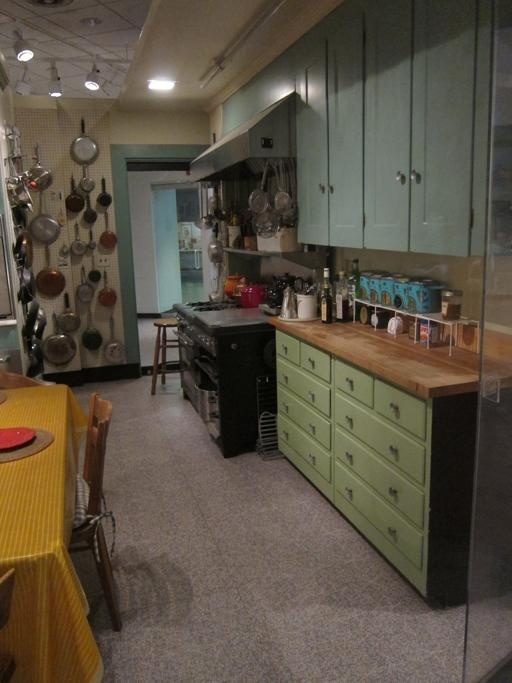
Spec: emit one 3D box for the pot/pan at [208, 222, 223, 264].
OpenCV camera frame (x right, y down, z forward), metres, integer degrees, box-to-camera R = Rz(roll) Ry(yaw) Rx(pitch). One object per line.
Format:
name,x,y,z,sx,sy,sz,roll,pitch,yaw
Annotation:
pot/pan,-0.389,-0.947,5.019,0.121,0.391,0.279,-5,8,-15

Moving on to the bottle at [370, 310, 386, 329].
bottle,0.630,-0.114,2.653,0.081,0.151,0.090,0,10,14

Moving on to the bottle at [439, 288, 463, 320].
bottle,0.806,-0.154,2.131,0.080,0.116,0.086,-2,8,0

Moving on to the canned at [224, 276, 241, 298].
canned,-0.198,-0.476,4.531,0.137,0.194,0.188,3,10,8

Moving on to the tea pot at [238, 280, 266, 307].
tea pot,-0.039,-0.382,4.045,0.175,0.176,0.196,1,11,9

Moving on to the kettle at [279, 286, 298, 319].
kettle,0.195,-0.233,3.129,0.101,0.182,0.149,-2,8,3

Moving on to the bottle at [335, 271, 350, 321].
bottle,0.499,-0.265,2.973,0.077,0.282,0.146,-2,8,4

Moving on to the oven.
oven,-0.239,0.175,3.860,0.600,0.869,1.209,-6,15,-22

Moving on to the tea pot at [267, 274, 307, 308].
tea pot,0.233,-0.361,3.605,0.292,0.278,0.215,-2,7,-16

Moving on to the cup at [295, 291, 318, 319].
cup,0.300,-0.209,3.072,0.138,0.148,0.113,-5,12,-22

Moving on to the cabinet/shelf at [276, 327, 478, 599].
cabinet/shelf,0.505,0.392,2.400,0.385,0.799,1.246,-8,17,-21
